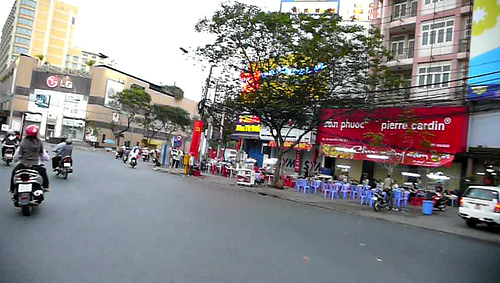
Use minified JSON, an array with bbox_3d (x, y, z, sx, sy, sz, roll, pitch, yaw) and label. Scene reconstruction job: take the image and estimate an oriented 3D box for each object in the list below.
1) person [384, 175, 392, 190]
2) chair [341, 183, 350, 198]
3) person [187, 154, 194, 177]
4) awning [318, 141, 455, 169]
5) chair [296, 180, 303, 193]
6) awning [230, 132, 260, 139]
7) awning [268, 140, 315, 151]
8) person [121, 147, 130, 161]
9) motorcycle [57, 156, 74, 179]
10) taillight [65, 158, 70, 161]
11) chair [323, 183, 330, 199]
[{"bbox_3d":[9.558,2.915,22.653,0.559,0.821,0.341,13,-6,-44],"label":"person"},{"bbox_3d":[8.043,4.230,27.931,0.491,1.156,0.809,6,-5,24],"label":"chair"},{"bbox_3d":[-5.402,2.135,29.907,0.398,1.599,1.309,9,-5,-6],"label":"person"},{"bbox_3d":[12.498,1.076,31.617,12.151,1.845,1.685,3,-7,44],"label":"awning"},{"bbox_3d":[4.228,3.865,28.781,0.749,1.262,0.706,-1,0,3],"label":"chair"},{"bbox_3d":[-0.520,-0.910,48.703,5.314,0.720,0.954,3,-8,45],"label":"awning"},{"bbox_3d":[5.123,0.452,42.292,2.271,1.266,8.088,13,-8,-43],"label":"awning"},{"bbox_3d":[-14.534,1.482,38.539,1.505,1.474,0.450,4,4,11],"label":"person"},{"bbox_3d":[-10.353,1.481,18.447,0.512,1.278,1.378,13,-7,-43],"label":"motorcycle"},{"bbox_3d":[-10.210,1.008,18.344,0.188,0.145,0.068,13,-6,-40],"label":"taillight"},{"bbox_3d":[6.397,4.175,27.490,0.858,1.516,0.899,-1,-16,14],"label":"chair"}]
